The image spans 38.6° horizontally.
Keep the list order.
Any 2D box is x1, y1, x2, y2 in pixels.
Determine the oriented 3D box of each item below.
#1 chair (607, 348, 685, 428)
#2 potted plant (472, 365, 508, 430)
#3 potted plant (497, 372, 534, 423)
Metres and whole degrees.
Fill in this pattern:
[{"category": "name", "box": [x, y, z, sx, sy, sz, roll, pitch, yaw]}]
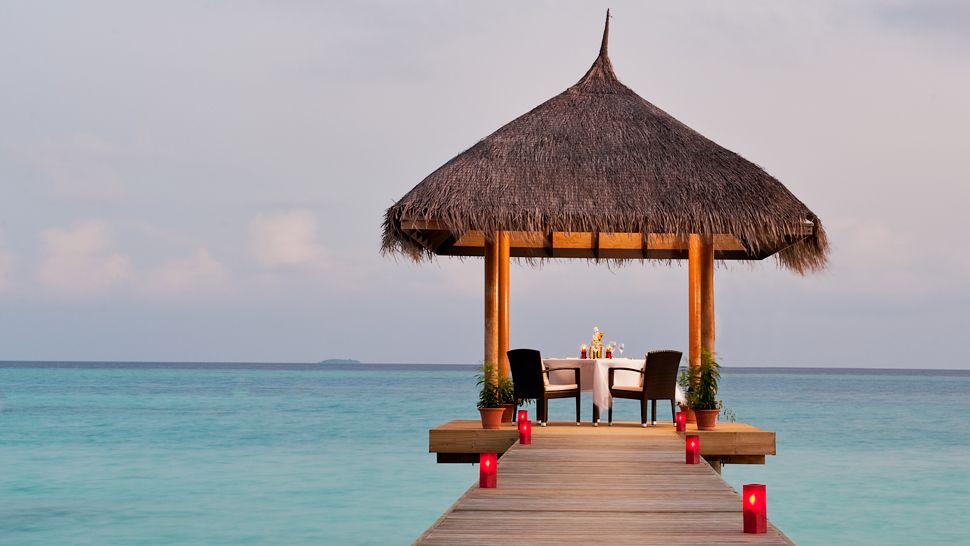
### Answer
[{"category": "chair", "box": [8.416, 5.732, 71.564, 3.041, 4.204, 3.003, 5, -7, -39]}, {"category": "potted plant", "box": [0.209, 6.389, 71.255, 1.823, 2.916, 1.926, -2, -4, 37]}, {"category": "potted plant", "box": [1.769, 6.456, 71.116, 2.232, 2.353, 2.553, 0, -3, -4]}]
